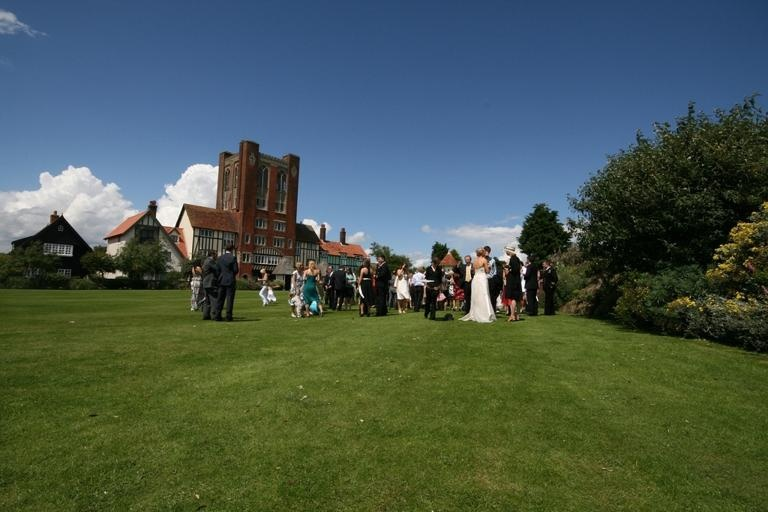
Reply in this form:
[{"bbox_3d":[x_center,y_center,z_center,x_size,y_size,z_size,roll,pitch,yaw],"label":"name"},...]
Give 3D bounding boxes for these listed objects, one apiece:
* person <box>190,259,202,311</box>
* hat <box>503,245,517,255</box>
[{"bbox_3d":[-8.339,1.314,20.639,0.356,2.190,1.321,1,-6,-24],"label":"person"},{"bbox_3d":[4.527,-0.232,16.460,0.319,0.322,0.904,-3,-6,12],"label":"hat"}]
